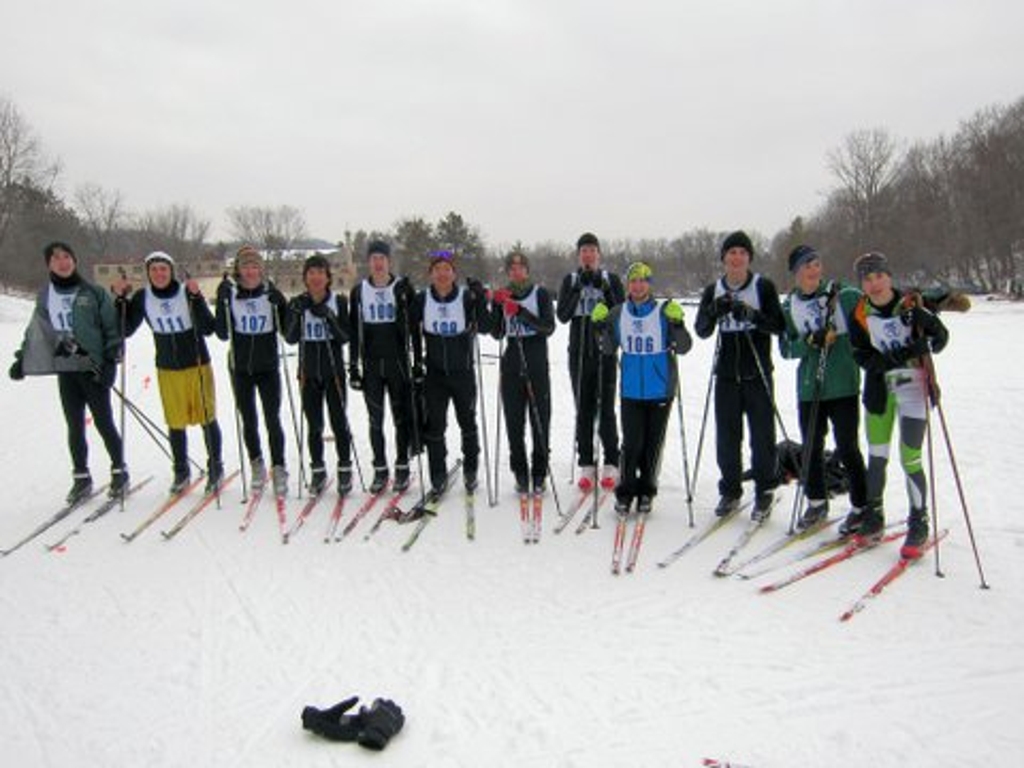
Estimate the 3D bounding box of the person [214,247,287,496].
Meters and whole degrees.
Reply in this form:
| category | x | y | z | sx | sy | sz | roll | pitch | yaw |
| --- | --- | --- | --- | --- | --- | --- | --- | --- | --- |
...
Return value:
| category | x | y | z | sx | sy | sz | roll | pitch | yaw |
| --- | --- | --- | --- | --- | --- | --- | --- | --- | --- |
| person | -2.859 | -0.143 | 10.192 | 0.678 | 2.772 | 0.737 | -5 | 6 | -42 |

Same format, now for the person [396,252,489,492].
| category | x | y | z | sx | sy | sz | roll | pitch | yaw |
| --- | --- | --- | --- | --- | --- | --- | --- | --- | --- |
| person | -0.705 | -0.126 | 10.114 | 0.863 | 2.697 | 0.457 | -1 | 4 | -5 |

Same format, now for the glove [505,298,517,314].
| category | x | y | z | sx | sy | sz | roll | pitch | yaw |
| --- | --- | --- | --- | --- | --- | --- | --- | --- | --- |
| glove | -0.017 | -0.837 | 9.898 | 0.151 | 0.151 | 0.094 | -2 | 5 | -9 |

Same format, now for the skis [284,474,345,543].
| category | x | y | z | sx | sy | sz | roll | pitch | yaw |
| --- | --- | --- | --- | --- | --- | --- | --- | --- | --- |
| skis | -2.178 | 1.315 | 9.966 | 0.181 | 0.164 | 1.402 | 30 | 21 | -2 |

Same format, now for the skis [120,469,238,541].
| category | x | y | z | sx | sy | sz | roll | pitch | yaw |
| --- | --- | --- | --- | --- | --- | --- | --- | --- | --- |
| skis | -3.711 | 1.354 | 9.993 | 0.260 | 0.130 | 1.491 | -4 | 23 | 16 |

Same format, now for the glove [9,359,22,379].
| category | x | y | z | sx | sy | sz | roll | pitch | yaw |
| --- | --- | --- | --- | --- | --- | --- | --- | --- | --- |
| glove | -5.474 | -0.147 | 10.113 | 0.057 | 0.267 | 0.171 | -5 | -7 | 31 |

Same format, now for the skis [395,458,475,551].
| category | x | y | z | sx | sy | sz | roll | pitch | yaw |
| --- | --- | --- | --- | --- | --- | --- | --- | --- | --- |
| skis | -0.883 | 1.340 | 9.930 | 0.207 | 0.167 | 1.725 | 10 | 25 | 5 |

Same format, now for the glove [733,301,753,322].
| category | x | y | z | sx | sy | sz | roll | pitch | yaw |
| --- | --- | --- | --- | --- | --- | --- | --- | --- | --- |
| glove | 2.269 | -0.720 | 9.042 | 0.201 | 0.209 | 0.091 | 0 | 4 | 6 |

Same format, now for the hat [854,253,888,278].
| category | x | y | z | sx | sy | sz | roll | pitch | yaw |
| --- | --- | --- | --- | --- | --- | --- | --- | --- | --- |
| hat | 3.312 | -1.095 | 8.492 | 0.303 | 0.232 | 0.263 | -3 | 6 | -21 |

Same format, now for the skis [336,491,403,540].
| category | x | y | z | sx | sy | sz | roll | pitch | yaw |
| --- | --- | --- | --- | --- | --- | --- | --- | --- | --- |
| skis | -1.594 | 1.388 | 9.838 | 0.218 | 0.027 | 0.751 | 7 | 24 | 8 |

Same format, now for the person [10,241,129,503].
| category | x | y | z | sx | sy | sz | roll | pitch | yaw |
| --- | --- | --- | --- | --- | --- | --- | --- | --- | --- |
| person | -4.776 | -0.106 | 10.062 | 0.966 | 2.845 | 0.401 | -3 | 4 | -23 |

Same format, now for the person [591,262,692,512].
| category | x | y | z | sx | sy | sz | roll | pitch | yaw |
| --- | --- | --- | --- | --- | --- | --- | --- | --- | --- |
| person | 1.340 | 0.056 | 9.541 | 1.010 | 2.606 | 0.639 | 1 | 5 | 27 |

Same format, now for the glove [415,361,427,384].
| category | x | y | z | sx | sy | sz | roll | pitch | yaw |
| --- | --- | --- | --- | --- | --- | --- | --- | --- | --- |
| glove | -1.023 | -0.125 | 10.074 | 0.133 | 0.223 | 0.060 | 7 | -1 | -11 |

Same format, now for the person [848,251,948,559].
| category | x | y | z | sx | sy | sz | roll | pitch | yaw |
| --- | --- | --- | --- | --- | --- | --- | --- | --- | --- |
| person | 3.572 | 0.179 | 8.591 | 0.827 | 2.799 | 0.556 | 1 | 5 | 28 |

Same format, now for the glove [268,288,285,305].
| category | x | y | z | sx | sy | sz | roll | pitch | yaw |
| --- | --- | --- | --- | --- | --- | --- | --- | --- | --- |
| glove | -2.581 | -0.967 | 10.130 | 0.138 | 0.200 | 0.248 | 0 | 5 | 14 |

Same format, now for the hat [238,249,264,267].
| category | x | y | z | sx | sy | sz | roll | pitch | yaw |
| --- | --- | --- | --- | --- | --- | --- | --- | --- | --- |
| hat | -2.933 | -1.405 | 10.207 | 0.176 | 0.218 | 0.241 | -8 | 8 | -30 |

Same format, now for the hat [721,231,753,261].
| category | x | y | z | sx | sy | sz | roll | pitch | yaw |
| --- | --- | --- | --- | --- | --- | --- | --- | --- | --- |
| hat | 2.248 | -1.383 | 9.187 | 0.317 | 0.271 | 0.375 | -1 | 5 | 2 |

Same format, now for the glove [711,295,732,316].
| category | x | y | z | sx | sy | sz | roll | pitch | yaw |
| --- | --- | --- | --- | --- | --- | --- | --- | --- | --- |
| glove | 2.069 | -0.773 | 9.096 | 0.124 | 0.180 | 0.172 | 1 | 21 | 7 |

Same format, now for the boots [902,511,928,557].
| category | x | y | z | sx | sy | sz | roll | pitch | yaw |
| --- | --- | --- | --- | --- | --- | --- | --- | --- | --- |
| boots | 3.739 | 1.368 | 8.528 | 0.327 | 0.449 | 0.166 | -2 | 5 | -18 |

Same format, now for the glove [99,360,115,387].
| category | x | y | z | sx | sy | sz | roll | pitch | yaw |
| --- | --- | --- | --- | --- | --- | --- | --- | --- | --- |
| glove | -4.463 | -0.123 | 10.089 | 0.073 | 0.225 | 0.141 | 4 | 1 | 45 |

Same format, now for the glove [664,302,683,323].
| category | x | y | z | sx | sy | sz | roll | pitch | yaw |
| --- | --- | --- | --- | --- | --- | --- | --- | --- | --- |
| glove | 1.639 | -0.702 | 9.275 | 0.100 | 0.225 | 0.161 | -12 | 28 | -14 |

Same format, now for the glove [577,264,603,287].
| category | x | y | z | sx | sy | sz | roll | pitch | yaw |
| --- | --- | --- | --- | --- | --- | --- | --- | --- | --- |
| glove | 0.858 | -1.204 | 10.300 | 0.213 | 0.280 | 0.087 | 8 | 44 | 1 |

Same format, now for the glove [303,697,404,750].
| category | x | y | z | sx | sy | sz | roll | pitch | yaw |
| --- | --- | --- | --- | --- | --- | --- | --- | --- | --- |
| glove | -1.223 | 2.590 | 7.129 | 0.566 | 0.305 | 0.385 | 6 | 14 | 6 |

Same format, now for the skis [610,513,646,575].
| category | x | y | z | sx | sy | sz | roll | pitch | yaw |
| --- | --- | --- | --- | --- | --- | --- | --- | --- | --- |
| skis | 1.130 | 1.589 | 9.036 | 0.225 | 0.074 | 0.870 | 2 | 14 | 8 |

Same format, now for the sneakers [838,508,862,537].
| category | x | y | z | sx | sy | sz | roll | pitch | yaw |
| --- | --- | --- | --- | --- | --- | --- | --- | --- | --- |
| sneakers | 3.291 | 1.354 | 8.968 | 0.139 | 0.372 | 0.141 | 29 | 46 | -3 |

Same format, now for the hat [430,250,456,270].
| category | x | y | z | sx | sy | sz | roll | pitch | yaw |
| --- | --- | --- | --- | --- | --- | --- | --- | --- | --- |
| hat | -0.773 | -1.382 | 10.091 | 0.276 | 0.309 | 0.435 | 1 | 3 | -2 |

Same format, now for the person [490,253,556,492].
| category | x | y | z | sx | sy | sz | roll | pitch | yaw |
| --- | --- | --- | --- | --- | --- | --- | --- | --- | --- |
| person | 0.105 | -0.116 | 10.138 | 0.689 | 2.694 | 0.476 | -1 | 4 | 2 |

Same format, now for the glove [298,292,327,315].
| category | x | y | z | sx | sy | sz | roll | pitch | yaw |
| --- | --- | --- | --- | --- | --- | --- | --- | --- | --- |
| glove | -2.139 | -0.876 | 9.976 | 0.204 | 0.158 | 0.308 | -11 | 28 | -16 |

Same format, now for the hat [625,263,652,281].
| category | x | y | z | sx | sy | sz | roll | pitch | yaw |
| --- | --- | --- | --- | --- | --- | --- | --- | --- | --- |
| hat | 1.274 | -1.144 | 9.409 | 0.219 | 0.211 | 0.239 | 3 | 4 | 24 |

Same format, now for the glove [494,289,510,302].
| category | x | y | z | sx | sy | sz | roll | pitch | yaw |
| --- | --- | --- | --- | --- | --- | --- | --- | --- | --- |
| glove | -0.122 | -0.964 | 10.008 | 0.116 | 0.146 | 0.047 | 4 | -4 | -3 |
